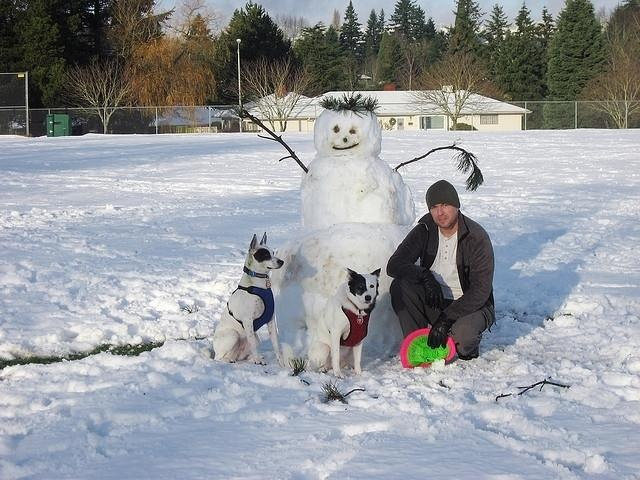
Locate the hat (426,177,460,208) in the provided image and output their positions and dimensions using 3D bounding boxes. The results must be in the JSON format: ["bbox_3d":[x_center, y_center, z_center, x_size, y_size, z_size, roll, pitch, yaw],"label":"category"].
[{"bbox_3d":[1.317,-0.497,8.190,0.275,0.272,0.312,-1,1,10],"label":"hat"}]

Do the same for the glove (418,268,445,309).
[{"bbox_3d":[1.198,0.516,8.184,0.111,0.391,0.232,-29,-10,16],"label":"glove"}]

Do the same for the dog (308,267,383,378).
[{"bbox_3d":[0.145,0.873,8.272,0.484,1.131,1.377,7,-4,-31],"label":"dog"}]

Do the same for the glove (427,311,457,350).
[{"bbox_3d":[1.275,0.965,8.058,0.124,0.396,0.211,27,33,11],"label":"glove"}]
